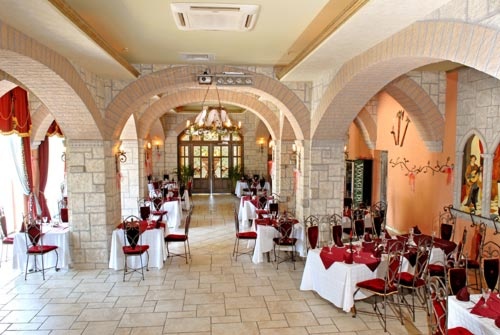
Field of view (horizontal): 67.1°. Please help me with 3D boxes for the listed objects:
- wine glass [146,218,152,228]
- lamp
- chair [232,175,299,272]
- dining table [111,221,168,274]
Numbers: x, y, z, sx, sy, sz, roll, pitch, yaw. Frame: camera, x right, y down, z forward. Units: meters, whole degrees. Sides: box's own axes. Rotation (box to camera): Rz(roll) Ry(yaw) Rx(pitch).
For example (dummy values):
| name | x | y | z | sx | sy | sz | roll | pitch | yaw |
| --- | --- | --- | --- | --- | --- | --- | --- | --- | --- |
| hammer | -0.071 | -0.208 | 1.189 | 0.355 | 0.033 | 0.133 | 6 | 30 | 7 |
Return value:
| name | x | y | z | sx | sy | sz | roll | pitch | yaw |
| --- | --- | --- | --- | --- | --- | --- | --- | --- | --- |
| wine glass | -2.718 | 1.513 | 10.208 | 0.194 | 0.216 | 0.196 | 5 | 9 | 27 |
| lamp | -1.025 | -1.750 | 10.714 | 1.645 | 1.703 | 1.637 | 1 | 4 | -1 |
| chair | 0.451 | 1.819 | 11.062 | 1.340 | 0.754 | 2.196 | 0 | 15 | -10 |
| dining table | -2.845 | 2.096 | 9.459 | 1.156 | 0.717 | 1.164 | 1 | 11 | -5 |
